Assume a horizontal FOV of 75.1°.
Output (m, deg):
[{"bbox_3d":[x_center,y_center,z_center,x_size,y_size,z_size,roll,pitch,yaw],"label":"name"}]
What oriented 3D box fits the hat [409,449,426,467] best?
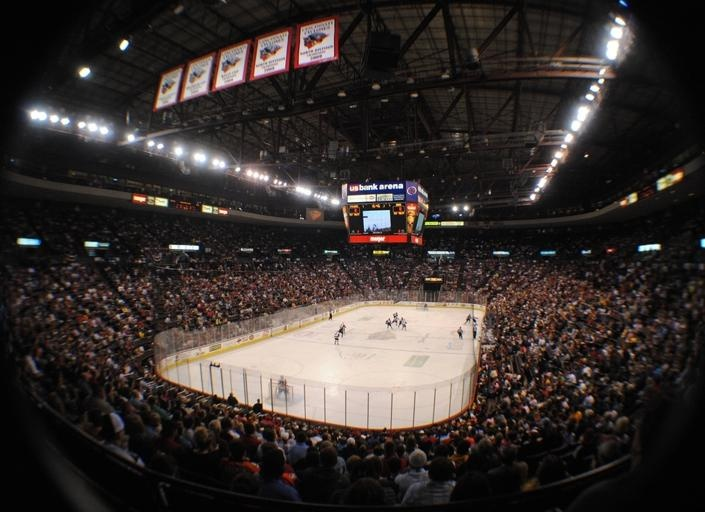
[{"bbox_3d":[1.530,4.839,11.053,0.344,0.249,0.463,-3,18,10],"label":"hat"}]
